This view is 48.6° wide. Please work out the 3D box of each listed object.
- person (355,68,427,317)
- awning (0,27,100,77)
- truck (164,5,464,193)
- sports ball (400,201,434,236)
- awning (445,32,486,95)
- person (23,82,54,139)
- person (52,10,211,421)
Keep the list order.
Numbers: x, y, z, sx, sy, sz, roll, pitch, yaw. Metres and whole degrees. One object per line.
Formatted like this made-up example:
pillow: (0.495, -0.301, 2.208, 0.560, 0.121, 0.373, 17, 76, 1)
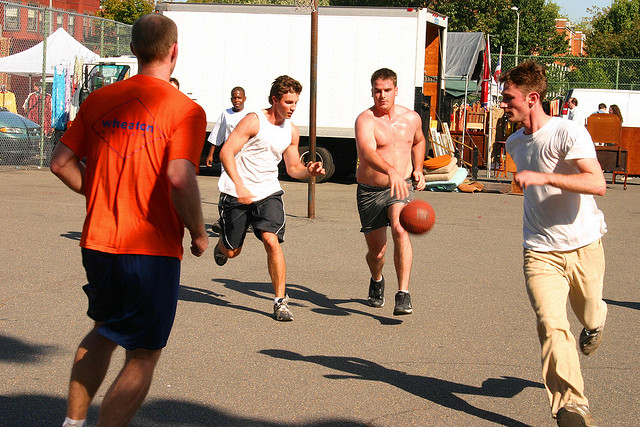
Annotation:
person: (0.771, -0.255, 8.143, 0.828, 2.779, 1.298, 2, 9, 7)
awning: (-9.542, -5.706, 24.997, 2.899, 1.469, 3.050, -1, 7, 7)
truck: (-0.069, -3.352, 20.095, 7.747, 4.766, 4.487, 3, 9, 9)
sports ball: (1.023, 0.070, 7.422, 0.356, 0.346, 0.325, 13, -25, 6)
awning: (5.675, -5.839, 27.745, 2.249, 1.185, 2.494, 6, 48, 9)
person: (-9.744, -3.731, 24.614, 1.002, 2.035, 0.514, -3, 38, -18)
person: (-1.357, 0.016, 5.180, 1.026, 2.911, 0.693, -1, 9, -14)
